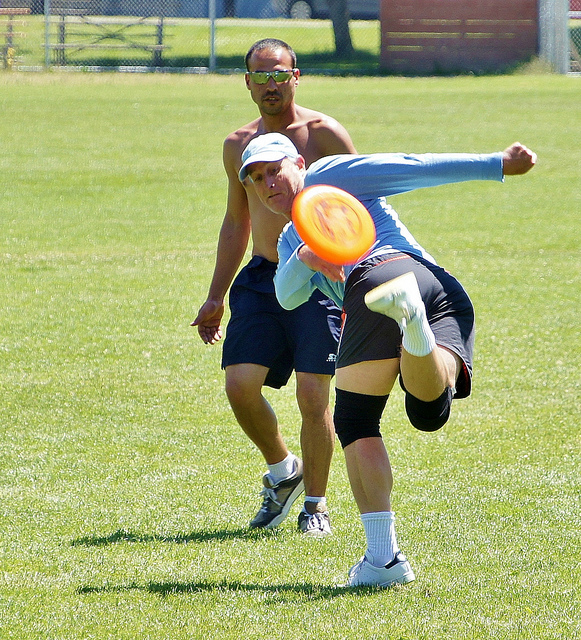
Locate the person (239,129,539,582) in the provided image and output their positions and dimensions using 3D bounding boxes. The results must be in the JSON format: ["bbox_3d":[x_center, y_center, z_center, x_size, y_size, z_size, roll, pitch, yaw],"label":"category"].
[{"bbox_3d":[0.372,0.203,6.660,0.747,2.004,1.008,-11,15,-40],"label":"person"}]

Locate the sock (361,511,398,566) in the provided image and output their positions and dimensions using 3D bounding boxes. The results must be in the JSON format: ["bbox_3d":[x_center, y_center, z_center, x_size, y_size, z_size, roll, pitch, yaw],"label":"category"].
[{"bbox_3d":[0.370,0.994,6.622,0.154,0.294,0.187,-3,-1,-4],"label":"sock"}]

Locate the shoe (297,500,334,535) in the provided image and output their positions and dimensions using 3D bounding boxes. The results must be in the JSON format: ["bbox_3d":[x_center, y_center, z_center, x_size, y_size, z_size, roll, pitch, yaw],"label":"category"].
[{"bbox_3d":[0.106,1.013,7.503,0.173,0.149,0.160,-1,12,1],"label":"shoe"}]

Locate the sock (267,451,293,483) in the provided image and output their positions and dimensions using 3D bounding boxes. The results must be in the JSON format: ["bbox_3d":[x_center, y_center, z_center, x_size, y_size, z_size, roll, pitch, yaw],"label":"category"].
[{"bbox_3d":[-0.061,0.781,7.794,0.122,0.110,0.102,-33,-11,33],"label":"sock"}]

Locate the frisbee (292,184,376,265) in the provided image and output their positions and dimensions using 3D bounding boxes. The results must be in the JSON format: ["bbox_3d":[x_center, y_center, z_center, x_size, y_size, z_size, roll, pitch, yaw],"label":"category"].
[{"bbox_3d":[0.170,-0.393,6.438,0.395,0.110,0.414,30,54,-2],"label":"frisbee"}]

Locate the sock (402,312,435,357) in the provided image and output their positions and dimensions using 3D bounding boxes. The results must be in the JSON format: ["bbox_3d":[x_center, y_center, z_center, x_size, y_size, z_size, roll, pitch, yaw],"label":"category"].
[{"bbox_3d":[0.530,0.081,6.238,0.119,0.175,0.177,-2,7,2],"label":"sock"}]
